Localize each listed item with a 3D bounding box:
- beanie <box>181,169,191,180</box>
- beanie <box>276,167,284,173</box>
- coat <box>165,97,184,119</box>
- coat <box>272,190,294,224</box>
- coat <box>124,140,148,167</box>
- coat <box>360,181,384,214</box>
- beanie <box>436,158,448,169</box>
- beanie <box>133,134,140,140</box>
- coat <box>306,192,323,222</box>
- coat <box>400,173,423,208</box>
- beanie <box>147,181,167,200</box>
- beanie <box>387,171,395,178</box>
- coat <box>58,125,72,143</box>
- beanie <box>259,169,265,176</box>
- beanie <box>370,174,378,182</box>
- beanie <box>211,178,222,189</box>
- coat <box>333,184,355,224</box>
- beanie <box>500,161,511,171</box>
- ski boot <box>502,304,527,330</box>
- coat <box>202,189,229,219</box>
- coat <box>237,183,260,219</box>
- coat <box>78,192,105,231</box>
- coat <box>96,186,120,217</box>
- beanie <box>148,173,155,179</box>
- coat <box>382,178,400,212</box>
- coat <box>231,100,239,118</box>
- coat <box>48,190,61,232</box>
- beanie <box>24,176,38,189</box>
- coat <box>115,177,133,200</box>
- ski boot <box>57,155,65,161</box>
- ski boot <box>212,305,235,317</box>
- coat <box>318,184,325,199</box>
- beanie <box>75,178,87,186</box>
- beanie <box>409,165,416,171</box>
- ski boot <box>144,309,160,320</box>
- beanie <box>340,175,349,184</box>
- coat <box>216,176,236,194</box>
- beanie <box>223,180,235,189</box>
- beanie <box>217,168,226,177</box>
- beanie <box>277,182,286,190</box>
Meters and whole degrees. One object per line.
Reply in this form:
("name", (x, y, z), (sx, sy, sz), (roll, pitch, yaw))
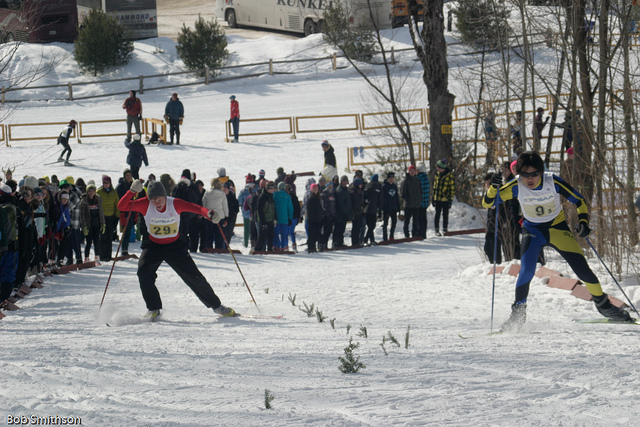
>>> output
("beanie", (-3.696, -1.081, 26.526), (0.195, 0.280, 0.250), (7, 13, 15))
("beanie", (-1.218, -1.316, 29.146), (0.149, 0.200, 0.199), (5, 14, 19))
("coat", (-5.672, -4.116, 37.737), (0.812, 0.908, 0.689), (11, 19, 39))
("coat", (-1.073, -0.202, 27.429), (0.357, 1.037, 0.742), (-8, 7, 8))
("coat", (-6.059, -1.987, 31.832), (0.632, 1.026, 0.607), (-5, 14, -12))
("coat", (1.519, -0.453, 28.160), (0.812, 1.137, 0.414), (2, 3, -12))
("beanie", (3.601, -1.463, 28.639), (0.293, 0.232, 0.208), (37, 22, 23))
("beanie", (-5.976, -2.521, 31.450), (0.205, 0.164, 0.392), (-5, 16, -12))
("coat", (-0.079, -0.262, 27.578), (0.416, 0.783, 0.760), (3, 16, 34))
("coat", (2.735, -0.692, 28.518), (0.615, 1.024, 0.309), (-1, 14, 3))
("beanie", (-3.482, -0.520, 20.559), (0.379, 0.354, 0.269), (-4, 14, -8))
("beanie", (2.128, -1.176, 28.900), (0.248, 0.189, 0.305), (-2, 1, -1))
("coat", (-9.402, -2.885, 35.365), (0.387, 0.503, 0.672), (11, 19, 39))
("beanie", (-1.744, -1.248, 29.268), (0.144, 0.189, 0.199), (2, 4, -14))
("beanie", (1.615, -1.067, 28.460), (0.185, 0.187, 0.336), (-1, 15, 3))
("beanie", (-2.921, -0.914, 27.228), (0.246, 0.280, 0.281), (-21, -32, -23))
("coat", (0.603, -0.253, 27.687), (0.738, 1.287, 1.027), (-3, 6, 4))
("beanie", (4.393, -1.153, 22.614), (0.143, 0.214, 0.187), (4, -12, 7))
("ski boot", (3.983, 2.102, 19.698), (0.303, 0.411, 0.593), (9, 18, 37))
("coat", (-2.925, -0.372, 27.375), (0.989, 1.107, 0.604), (-1, 7, -7))
("coat", (-2.075, -0.367, 28.318), (0.922, 1.239, 0.629), (0, -17, -8))
("coat", (-6.143, -0.081, 25.597), (0.531, 1.013, 0.231), (-1, 2, -32))
("coat", (-5.709, -0.316, 25.926), (0.713, 0.895, 0.356), (1, -9, -36))
("beanie", (-4.639, -1.047, 26.669), (0.164, 0.089, 0.165), (-1, -1, 32))
("coat", (2.075, -0.541, 28.568), (0.541, 0.973, 0.344), (-6, 14, -16))
("coat", (-3.399, -4.182, 38.530), (0.274, 0.698, 0.301), (-5, 14, -13))
("coat", (-6.879, -0.089, 25.074), (0.238, 1.129, 0.535), (-1, 14, 1))
("beanie", (-7.207, -0.802, 24.085), (0.313, 0.341, 0.229), (-20, 25, -25))
("coat", (-5.082, -0.660, 25.096), (0.285, 0.818, 0.458), (-11, -17, 39))
("ski boot", (-9.784, -2.103, 36.451), (0.269, 0.294, 0.138), (1, 9, -5))
("ski boot", (-2.094, 2.097, 20.964), (0.483, 0.192, 0.240), (12, -40, 0))
("coat", (0.053, -0.743, 28.071), (0.155, 0.236, 0.210), (0, -14, -11))
("beanie", (-6.887, -0.921, 27.678), (0.211, 0.243, 0.262), (-1, 3, -5))
("beanie", (2.752, -1.364, 28.710), (0.203, 0.116, 0.302), (-1, 0, -1))
("ski boot", (-3.577, 2.135, 20.743), (0.319, 0.192, 0.163), (-10, 17, -28))
("beanie", (0.699, -0.998, 28.007), (0.170, 0.202, 0.204), (3, 9, 22))
("coat", (-2.723, -0.894, 28.565), (0.322, 0.482, 0.235), (-11, -3, -19))
("beanie", (-2.685, -0.871, 28.421), (0.295, 0.320, 0.307), (-2, -2, -8))
("beanie", (-2.931, -1.258, 28.980), (0.202, 0.285, 0.286), (-3, 19, -21))
("beanie", (-1.052, -0.808, 27.426), (0.271, 0.197, 0.220), (-8, 16, -24))
